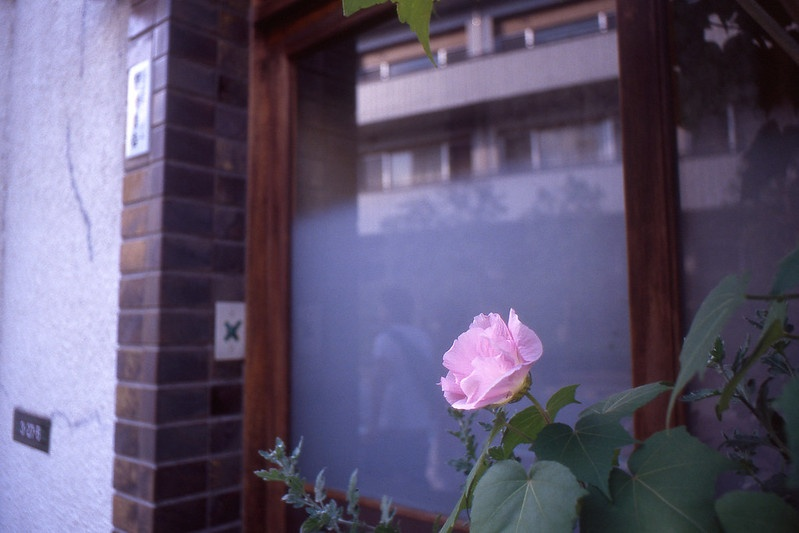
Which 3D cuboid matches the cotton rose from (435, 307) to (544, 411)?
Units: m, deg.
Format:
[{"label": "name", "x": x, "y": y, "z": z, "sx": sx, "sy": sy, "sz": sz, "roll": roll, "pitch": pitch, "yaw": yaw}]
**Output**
[{"label": "cotton rose", "x": 0.163, "y": 0.163, "z": 1.017, "sx": 0.176, "sy": 0.160, "sz": 0.069, "roll": -4, "pitch": -6, "yaw": 0}]
